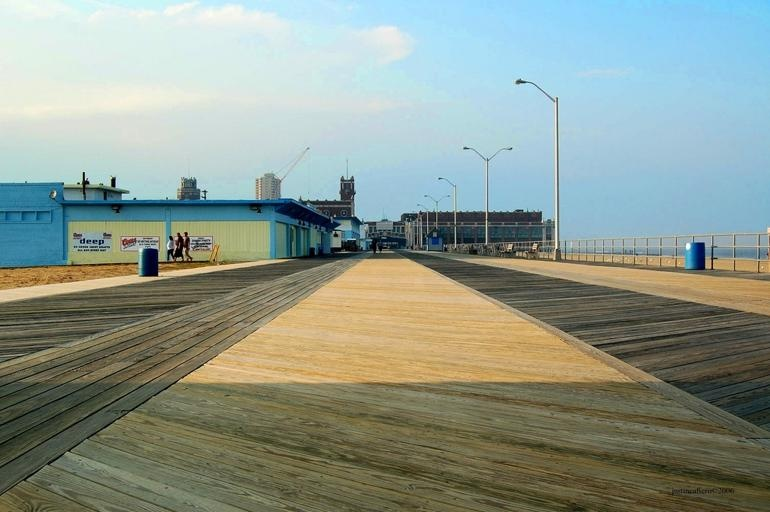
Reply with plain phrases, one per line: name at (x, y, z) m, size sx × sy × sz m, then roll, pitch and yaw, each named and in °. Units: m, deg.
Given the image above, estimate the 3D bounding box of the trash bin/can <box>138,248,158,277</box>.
trash bin/can at (-7.721, 0.216, 23.288) m, size 0.575 × 0.891 × 0.729 m, roll 0°, pitch 4°, yaw -24°

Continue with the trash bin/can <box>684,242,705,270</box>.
trash bin/can at (11.990, 0.012, 27.449) m, size 0.740 × 1.034 × 0.762 m, roll 3°, pitch 4°, yaw 22°
